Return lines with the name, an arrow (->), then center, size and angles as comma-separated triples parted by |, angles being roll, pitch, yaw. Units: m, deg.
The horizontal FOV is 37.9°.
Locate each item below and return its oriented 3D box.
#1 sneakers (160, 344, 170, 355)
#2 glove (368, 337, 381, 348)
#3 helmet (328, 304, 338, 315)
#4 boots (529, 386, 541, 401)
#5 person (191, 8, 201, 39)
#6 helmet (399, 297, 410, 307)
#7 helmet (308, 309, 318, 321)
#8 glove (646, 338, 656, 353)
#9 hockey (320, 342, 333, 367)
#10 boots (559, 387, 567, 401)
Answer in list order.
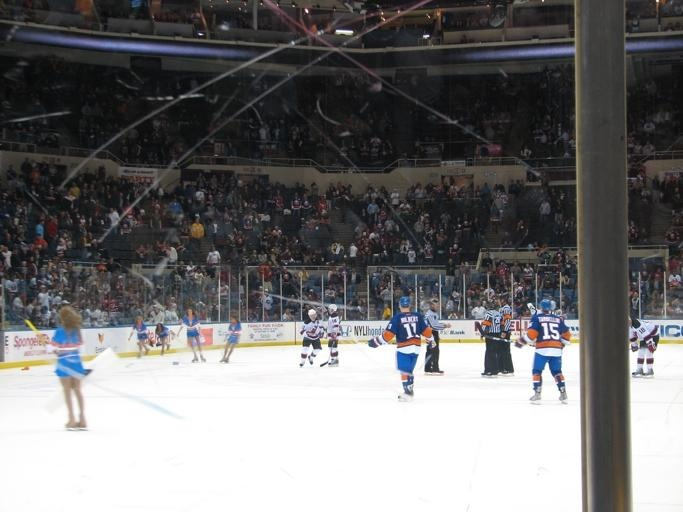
sneakers -> -6.357, 3.293, 35.417 | 0.133, 0.226, 0.667 | -21, -1, -16
glove -> 0.838, 2.209, 25.728 | 0.297, 0.322, 0.340 | -2, 13, -6
helmet -> -0.308, 1.628, 31.431 | 0.259, 0.358, 0.343 | 2, 27, -8
boots -> 4.918, 3.491, 25.252 | 0.258, 0.379, 0.239 | 1, 12, 8
person -> -6.438, -10.314, 44.027 | 0.482, 1.131, 0.838 | -2, 13, -8
helmet -> 1.603, 1.166, 25.533 | 0.297, 0.242, 0.509 | 2, -2, 4
helmet -> -0.943, 1.823, 31.072 | 0.253, 0.369, 0.351 | -3, 6, -3
glove -> 8.892, 2.534, 28.461 | 0.159, 0.429, 0.457 | 10, 16, 41
hockey -> -0.430, 3.241, 32.298 | 0.151, 0.625, 0.574 | 5, 2, -11
boots -> 5.624, 3.506, 25.324 | 0.200, 0.456, 0.307 | -5, 46, 18
